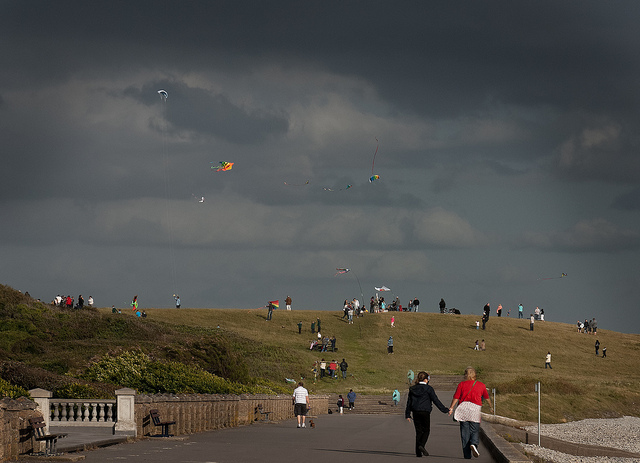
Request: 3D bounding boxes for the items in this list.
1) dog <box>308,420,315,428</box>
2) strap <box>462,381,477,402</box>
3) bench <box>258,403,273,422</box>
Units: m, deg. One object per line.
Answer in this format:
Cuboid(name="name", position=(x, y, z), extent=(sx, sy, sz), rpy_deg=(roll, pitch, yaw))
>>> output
Cuboid(name="dog", position=(-0.495, 11.669, 74.997), extent=(0.321, 0.492, 0.321), rpy_deg=(1, -6, 32))
Cuboid(name="strap", position=(7.600, 8.051, 62.617), extent=(0.130, 1.019, 0.053), rpy_deg=(36, -5, -15))
Cuboid(name="bench", position=(-3.581, 11.522, 79.182), extent=(0.420, 1.290, 2.188), rpy_deg=(8, 6, 16))
